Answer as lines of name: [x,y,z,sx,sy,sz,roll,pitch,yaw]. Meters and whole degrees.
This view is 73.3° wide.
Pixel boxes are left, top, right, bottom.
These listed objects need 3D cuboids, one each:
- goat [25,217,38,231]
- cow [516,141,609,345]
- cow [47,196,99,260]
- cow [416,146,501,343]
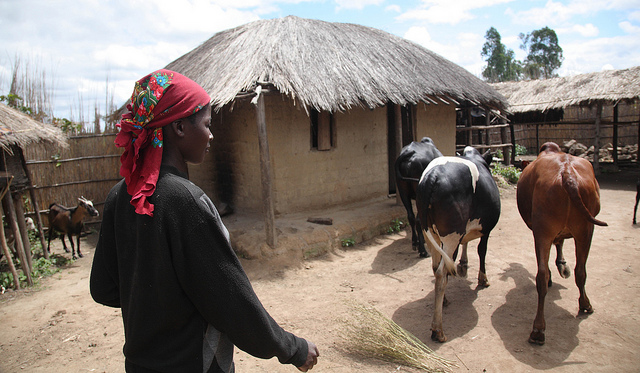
goat: [-7.299,0.965,10.945,0.206,0.396,0.620,-11,8,-34]
cow: [3.923,0.386,7.097,1.174,2.374,4.334,-3,18,21]
cow: [-6.150,1.000,10.696,2.185,1.524,0.510,4,5,33]
cow: [2.317,0.484,7.297,1.112,2.152,4.053,3,12,26]
